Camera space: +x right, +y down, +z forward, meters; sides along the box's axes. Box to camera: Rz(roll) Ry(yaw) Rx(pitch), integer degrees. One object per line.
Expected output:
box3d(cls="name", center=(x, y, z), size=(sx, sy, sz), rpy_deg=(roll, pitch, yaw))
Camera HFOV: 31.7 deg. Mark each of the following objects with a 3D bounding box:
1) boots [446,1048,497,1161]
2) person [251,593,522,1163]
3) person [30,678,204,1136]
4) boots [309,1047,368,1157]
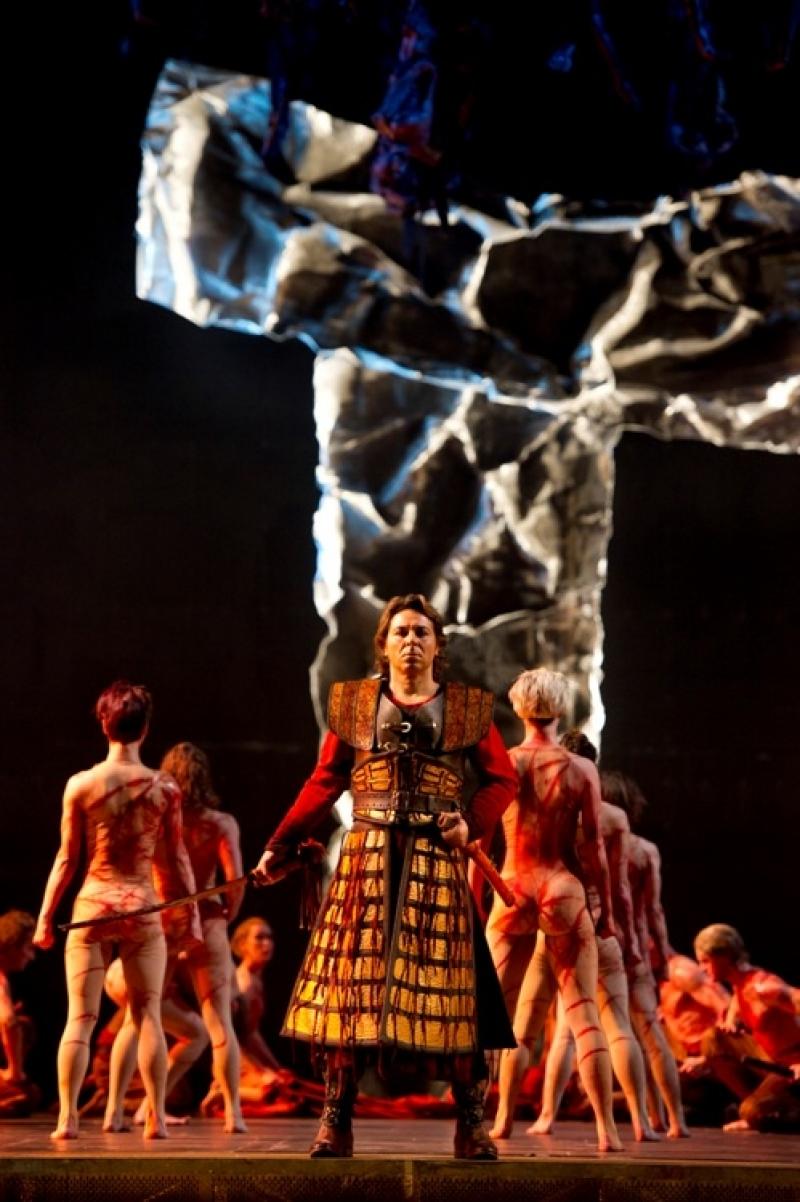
box3d(cls="boots", center=(0.167, 1.166, 3.245), size=(0.128, 0.247, 0.236), rpy_deg=(6, -5, 5))
box3d(cls="person", center=(-0.016, 0.634, 3.357), size=(0.646, 1.331, 0.420), rpy_deg=(6, -5, 5))
box3d(cls="person", center=(-0.770, 0.852, 3.901), size=(0.431, 1.239, 0.609), rpy_deg=(7, -5, -6))
box3d(cls="boots", center=(-0.144, 1.161, 3.274), size=(0.096, 0.278, 0.221), rpy_deg=(7, -5, 0))
